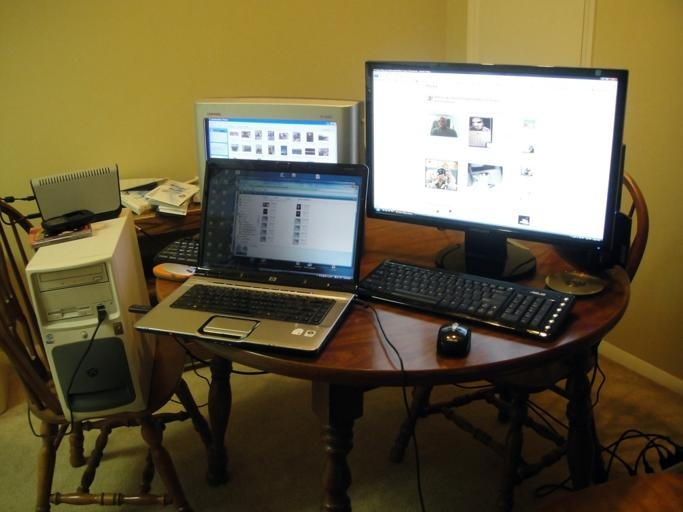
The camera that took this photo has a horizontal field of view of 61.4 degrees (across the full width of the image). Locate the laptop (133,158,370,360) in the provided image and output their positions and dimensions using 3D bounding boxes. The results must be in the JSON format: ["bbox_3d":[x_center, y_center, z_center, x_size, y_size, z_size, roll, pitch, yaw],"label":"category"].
[{"bbox_3d":[-0.195,-0.008,1.652,0.593,0.443,0.534,7,26,16],"label":"laptop"}]

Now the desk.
[{"bbox_3d":[0.127,0.058,1.816,1.112,0.717,1.120,19,30,31],"label":"desk"}]

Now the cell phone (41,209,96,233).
[{"bbox_3d":[-0.866,-0.115,1.815,0.120,0.032,0.076,-21,37,-29],"label":"cell phone"}]

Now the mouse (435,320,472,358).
[{"bbox_3d":[0.297,0.203,1.517,0.088,0.053,0.157,3,10,11],"label":"mouse"}]

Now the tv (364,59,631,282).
[{"bbox_3d":[0.455,-0.249,1.689,0.579,0.469,0.194,12,25,25],"label":"tv"}]
